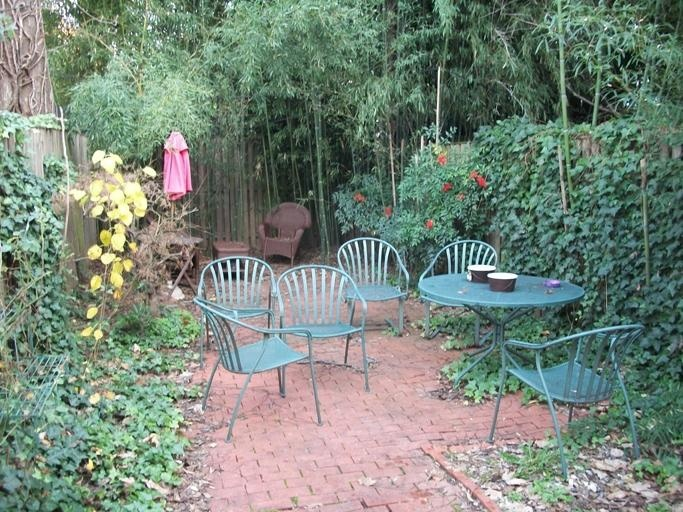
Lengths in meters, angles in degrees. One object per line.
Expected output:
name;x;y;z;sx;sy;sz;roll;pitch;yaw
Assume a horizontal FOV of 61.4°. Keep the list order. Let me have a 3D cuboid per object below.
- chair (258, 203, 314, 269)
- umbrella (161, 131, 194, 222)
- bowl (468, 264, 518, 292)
chair;-0.835;-0.340;8.642;0.789;1.034;0.833;4;10;14
umbrella;-1.904;-1.023;6.613;0.285;0.810;0.510;-3;14;-12
bowl;1.176;0.158;4.493;0.225;0.116;0.474;-6;15;-21
